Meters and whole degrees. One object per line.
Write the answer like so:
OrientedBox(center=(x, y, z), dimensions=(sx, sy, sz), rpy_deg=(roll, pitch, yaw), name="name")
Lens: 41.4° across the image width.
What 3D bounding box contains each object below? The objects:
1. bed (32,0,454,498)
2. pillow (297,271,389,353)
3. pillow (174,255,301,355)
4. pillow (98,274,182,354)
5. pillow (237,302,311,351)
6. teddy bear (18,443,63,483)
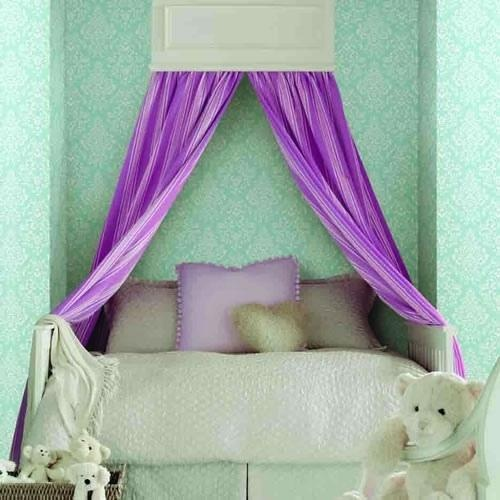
OrientedBox(center=(-0.100, -0.040, 3.163), dimensions=(1.820, 2.048, 1.073), rpy_deg=(-1, 86, 1), name="bed")
OrientedBox(center=(0.445, 0.301, 3.455), dimensions=(0.435, 0.530, 0.147), rpy_deg=(0, 41, 12), name="pillow")
OrientedBox(center=(-0.126, 0.245, 3.353), dimensions=(0.435, 0.134, 0.496), rpy_deg=(0, 75, 3), name="pillow")
OrientedBox(center=(-0.552, 0.310, 3.388), dimensions=(0.427, 0.526, 0.117), rpy_deg=(-5, 27, -21), name="pillow")
OrientedBox(center=(0.096, 0.380, 3.210), dimensions=(0.266, 0.093, 0.248), rpy_deg=(-9, 73, -13), name="pillow")
OrientedBox(center=(-0.782, 0.805, 2.458), dimensions=(0.139, 0.120, 0.165), rpy_deg=(15, 56, -30), name="teddy bear")
